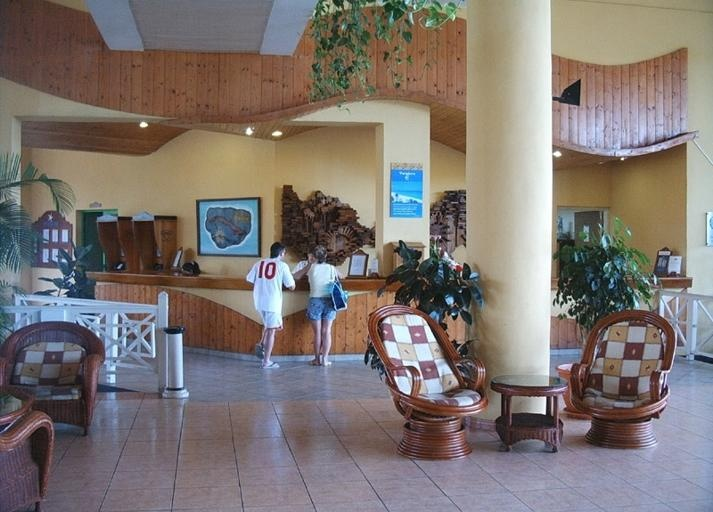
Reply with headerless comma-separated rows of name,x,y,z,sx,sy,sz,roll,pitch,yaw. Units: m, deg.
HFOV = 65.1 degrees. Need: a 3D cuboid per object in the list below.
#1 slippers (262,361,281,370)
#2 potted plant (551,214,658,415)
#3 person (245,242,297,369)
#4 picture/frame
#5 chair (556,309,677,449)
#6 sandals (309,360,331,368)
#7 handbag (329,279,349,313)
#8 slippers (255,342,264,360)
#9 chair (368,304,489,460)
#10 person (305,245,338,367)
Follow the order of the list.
slippers,-1.258,1.596,8.174,0.242,0.106,0.103,-2,1,-11
potted plant,2.889,0.734,6.555,1.065,2.078,1.290,4,3,-18
person,-1.258,0.719,8.282,0.716,1.827,0.562,0,4,-7
picture/frame,-2.448,-0.562,10.933,1.237,0.962,0.051,1,0,22
chair,2.541,1.177,5.366,0.927,1.167,0.853,-4,-3,37
sandals,-0.542,1.612,8.358,0.323,0.134,0.103,-8,-10,37
handbag,-0.264,0.567,8.247,0.254,0.463,0.516,0,4,-3
slippers,-1.430,1.403,8.216,0.116,0.241,0.105,-4,15,5
chair,0.650,1.152,5.234,1.082,1.274,0.848,0,4,0
person,-0.498,0.743,8.264,0.427,1.759,0.455,0,4,-5
